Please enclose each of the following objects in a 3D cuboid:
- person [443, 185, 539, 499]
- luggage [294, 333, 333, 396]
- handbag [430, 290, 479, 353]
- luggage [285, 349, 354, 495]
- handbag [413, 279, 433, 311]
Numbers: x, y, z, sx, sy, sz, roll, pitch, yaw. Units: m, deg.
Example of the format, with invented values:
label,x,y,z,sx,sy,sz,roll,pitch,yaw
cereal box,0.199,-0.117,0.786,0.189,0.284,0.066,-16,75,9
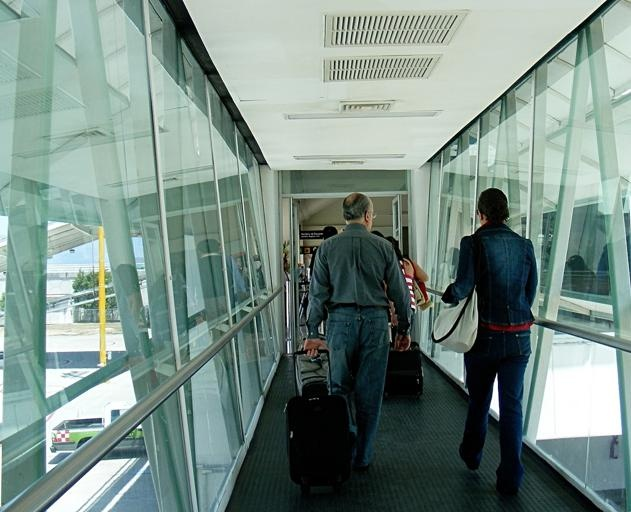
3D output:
label,x,y,z,sx,sy,sz,roll,pitch,yaw
person,1.206,0.546,3.281,0.516,1.810,0.373,-2,0,25
luggage,-0.014,1.057,4.685,0.249,0.464,0.253,-16,-15,24
handbag,0.936,0.426,3.338,0.190,0.459,0.318,31,-24,-25
luggage,0.014,1.147,3.570,0.448,0.963,0.458,-3,-16,0
handbag,1.151,0.425,5.354,0.107,0.322,0.231,-16,-10,10
